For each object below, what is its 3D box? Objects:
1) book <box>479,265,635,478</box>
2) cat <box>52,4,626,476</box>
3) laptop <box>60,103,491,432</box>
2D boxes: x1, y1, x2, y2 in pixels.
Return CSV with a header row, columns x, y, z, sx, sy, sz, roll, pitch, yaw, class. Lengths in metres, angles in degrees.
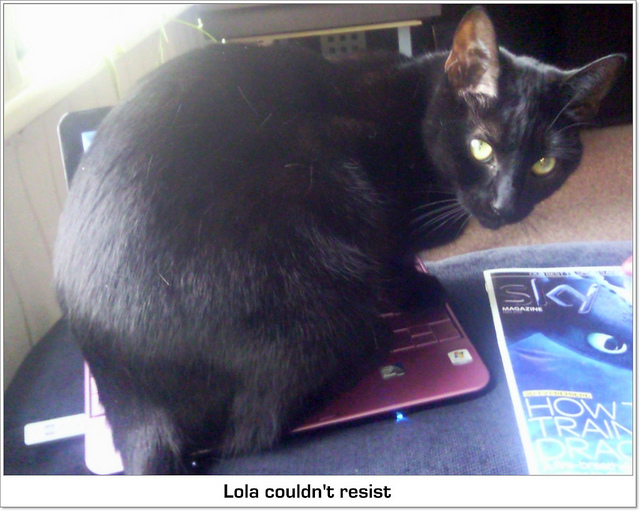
x,y,z,sx,sy,sz,roll,pitch,yaw,class
0.444,0.180,0.985,0.267,0.140,0.347,-9,48,7,book
0.073,-0.072,1.155,0.610,0.491,1.121,26,65,34,cat
-0.035,-0.125,1.070,0.573,0.423,0.598,-16,27,-10,laptop
